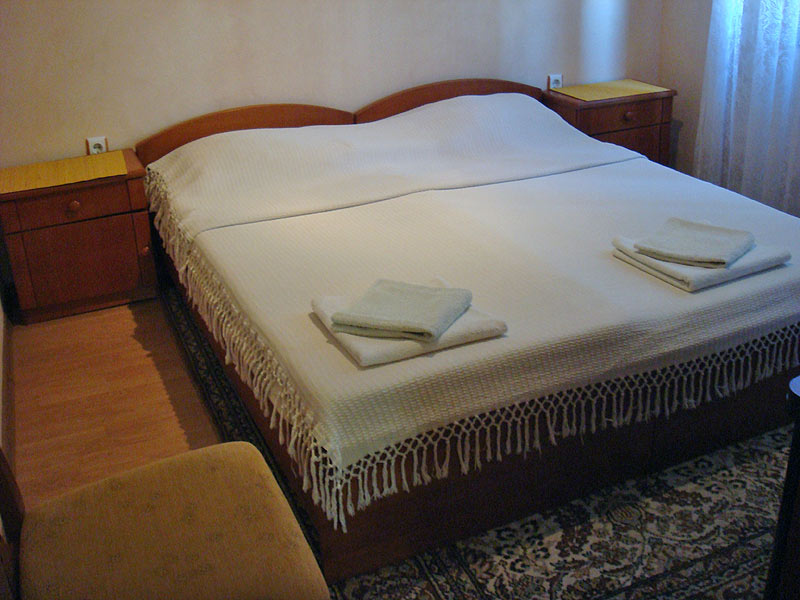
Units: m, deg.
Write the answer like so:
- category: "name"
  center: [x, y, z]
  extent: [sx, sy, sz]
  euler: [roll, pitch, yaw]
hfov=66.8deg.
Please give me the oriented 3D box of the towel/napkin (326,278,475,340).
- category: "towel/napkin"
  center: [0.012, 0.020, 1.817]
  extent: [0.224, 0.063, 0.231]
  euler: [10, 30, 21]

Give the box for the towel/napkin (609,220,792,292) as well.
- category: "towel/napkin"
  center: [1.008, -0.158, 2.095]
  extent: [0.334, 0.081, 0.327]
  euler: [-22, 33, -31]

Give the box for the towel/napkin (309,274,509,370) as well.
- category: "towel/napkin"
  center: [-0.043, 0.085, 1.879]
  extent: [0.354, 0.079, 0.378]
  euler: [17, -14, -8]

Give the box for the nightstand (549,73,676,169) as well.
- category: "nightstand"
  center: [1.327, -1.018, 3.898]
  extent: [0.626, 0.629, 0.502]
  euler: [-11, 30, -6]
